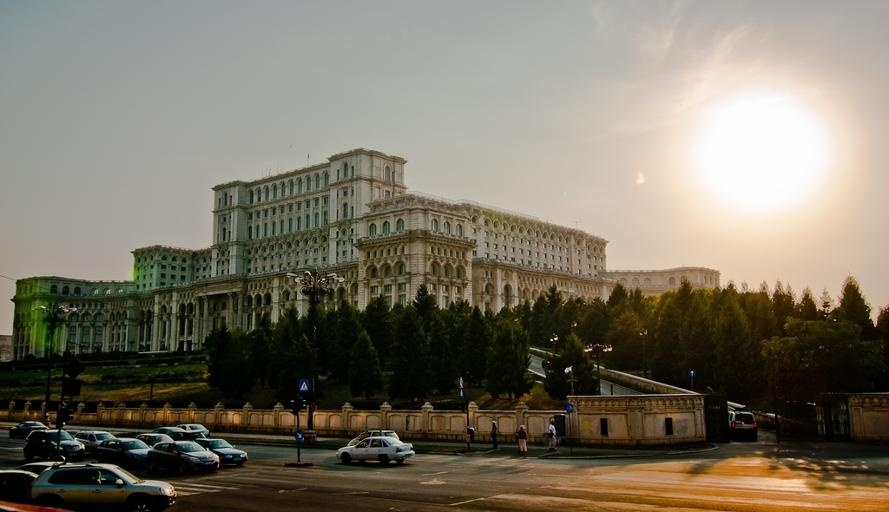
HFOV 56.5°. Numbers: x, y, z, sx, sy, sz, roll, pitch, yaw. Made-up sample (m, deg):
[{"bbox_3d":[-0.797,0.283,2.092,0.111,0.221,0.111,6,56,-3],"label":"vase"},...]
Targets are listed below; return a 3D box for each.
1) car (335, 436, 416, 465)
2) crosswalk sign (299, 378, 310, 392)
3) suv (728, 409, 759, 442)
[{"bbox_3d":[-5.885,16.860,71.553,5.788,1.765,2.626,-1,-14,17],"label":"car"},{"bbox_3d":[-12.670,11.674,74.655,0.945,1.016,1.921,1,-13,-10],"label":"crosswalk sign"},{"bbox_3d":[29.961,17.054,83.081,2.498,2.874,1.837,-5,-14,16],"label":"suv"}]
